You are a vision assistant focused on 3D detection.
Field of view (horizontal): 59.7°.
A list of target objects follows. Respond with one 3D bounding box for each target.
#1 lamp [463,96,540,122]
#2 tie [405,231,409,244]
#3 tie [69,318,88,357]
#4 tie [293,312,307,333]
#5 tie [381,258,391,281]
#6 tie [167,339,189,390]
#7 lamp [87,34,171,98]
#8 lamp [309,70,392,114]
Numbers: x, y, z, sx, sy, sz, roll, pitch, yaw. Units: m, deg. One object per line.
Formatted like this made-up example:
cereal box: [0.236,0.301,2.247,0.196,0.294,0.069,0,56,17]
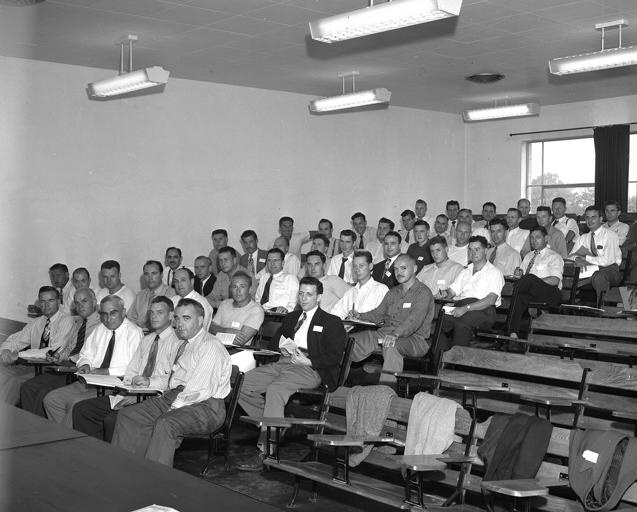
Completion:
lamp: [3.247,-2.577,9.913,1.320,0.271,0.520,8,5,39]
tie: [1.593,-0.338,10.071,0.034,0.143,0.142,10,-4,2]
tie: [-2.524,0.866,5.924,0.082,0.322,0.231,19,-33,-34]
tie: [-0.177,0.603,5.127,0.045,0.194,0.106,25,4,-35]
tie: [0.820,0.177,6.939,0.087,0.244,0.175,16,-18,-27]
tie: [-1.153,0.888,4.593,0.129,0.370,0.270,14,-4,-9]
lamp: [-2.613,-2.619,7.599,1.269,0.713,0.360,1,2,35]
lamp: [0.447,-2.706,9.131,1.434,0.623,0.377,-11,37,-22]
